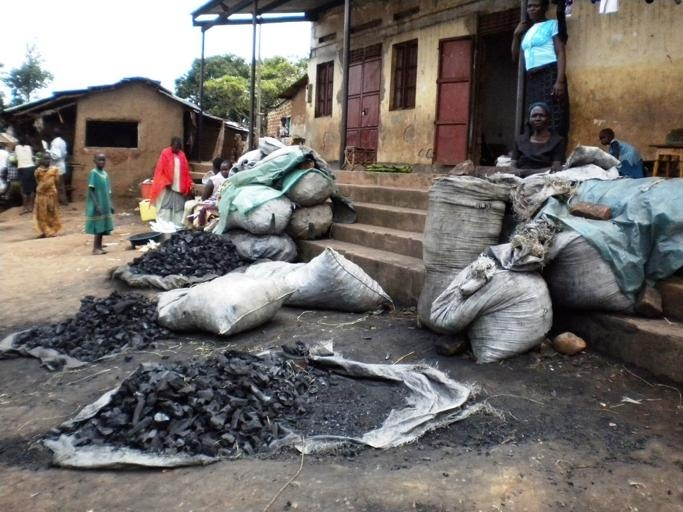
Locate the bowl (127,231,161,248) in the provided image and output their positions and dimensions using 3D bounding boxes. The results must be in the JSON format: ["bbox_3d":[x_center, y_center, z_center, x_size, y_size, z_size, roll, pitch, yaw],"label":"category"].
[{"bbox_3d":[-3.259,-0.257,8.769,0.431,0.250,0.638,-9,10,-40],"label":"bowl"}]

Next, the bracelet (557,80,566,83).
[{"bbox_3d":[2.392,-1.908,5.836,0.047,0.017,0.060,-2,3,8],"label":"bracelet"}]

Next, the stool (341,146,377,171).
[{"bbox_3d":[0.308,-1.792,9.753,0.494,0.431,0.806,-1,8,10],"label":"stool"}]

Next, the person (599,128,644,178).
[{"bbox_3d":[3.181,-1.179,5.993,0.388,0.575,0.972,1,8,19],"label":"person"}]

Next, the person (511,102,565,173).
[{"bbox_3d":[1.951,-1.178,5.351,0.372,0.683,0.600,-5,9,-19],"label":"person"}]
